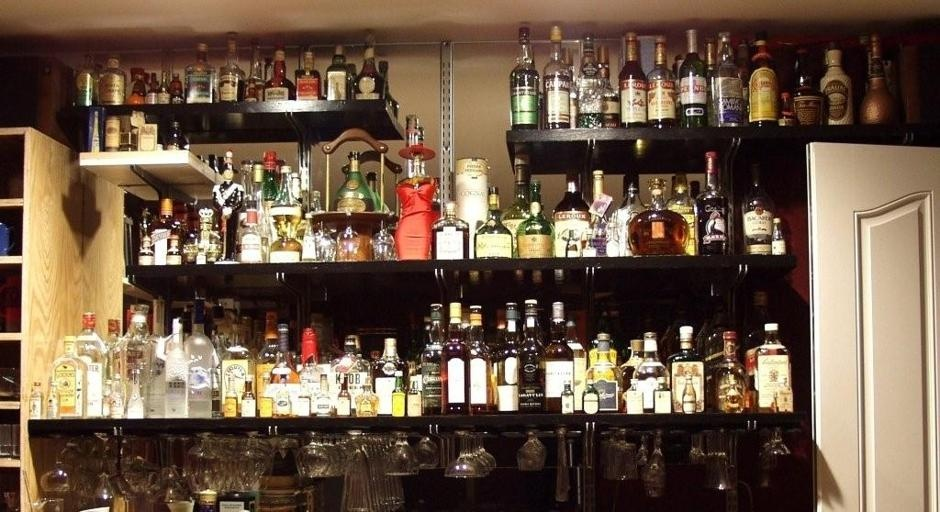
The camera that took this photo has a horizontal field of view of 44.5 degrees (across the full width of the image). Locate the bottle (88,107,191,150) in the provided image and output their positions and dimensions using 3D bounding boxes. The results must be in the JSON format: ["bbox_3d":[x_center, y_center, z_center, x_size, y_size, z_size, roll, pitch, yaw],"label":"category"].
[{"bbox_3d":[-1.861,-0.696,6.526,0.516,0.207,0.260,1,-4,0],"label":"bottle"}]
